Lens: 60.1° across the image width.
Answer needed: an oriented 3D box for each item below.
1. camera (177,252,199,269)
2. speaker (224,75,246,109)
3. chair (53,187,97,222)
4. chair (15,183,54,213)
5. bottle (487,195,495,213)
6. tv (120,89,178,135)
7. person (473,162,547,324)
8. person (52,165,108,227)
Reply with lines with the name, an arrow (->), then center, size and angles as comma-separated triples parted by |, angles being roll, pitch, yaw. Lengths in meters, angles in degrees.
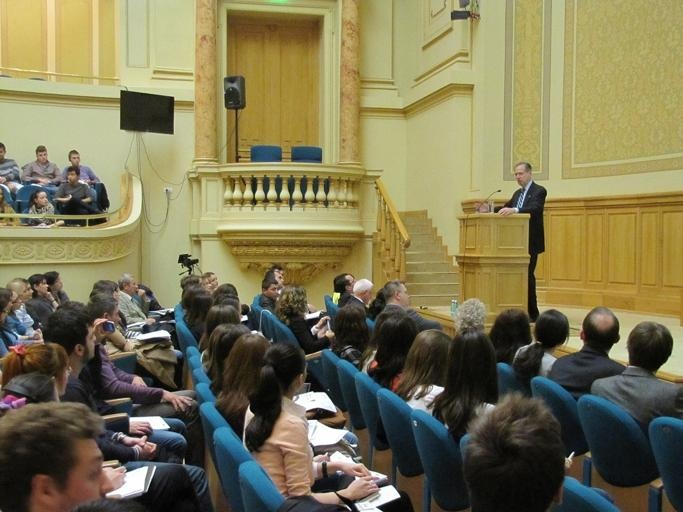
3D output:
camera -> -2.367, 0.076, 8.930 | 0.359, 0.313, 0.240 | 0, -1, -6
speaker -> -1.663, -2.559, 9.158 | 0.311, 0.509, 0.237 | -2, 4, 5
chair -> -3.876, -0.743, 8.494 | 0.622, 0.435, 0.335 | 21, 18, 40
chair -> -4.417, -0.842, 8.477 | 0.452, 0.558, 0.429 | 0, 1, -25
bottle -> 1.525, -0.506, 6.013 | 0.049, 0.122, 0.277 | -1, 4, 17
tv -> -3.091, -2.285, 9.348 | 0.817, 0.620, 0.203 | -4, 4, -26
person -> 1.881, -0.174, 6.226 | 0.544, 1.599, 0.494 | -6, 2, -20
person -> -3.868, -0.822, 8.605 | 0.756, 1.190, 0.455 | -20, -16, 40
